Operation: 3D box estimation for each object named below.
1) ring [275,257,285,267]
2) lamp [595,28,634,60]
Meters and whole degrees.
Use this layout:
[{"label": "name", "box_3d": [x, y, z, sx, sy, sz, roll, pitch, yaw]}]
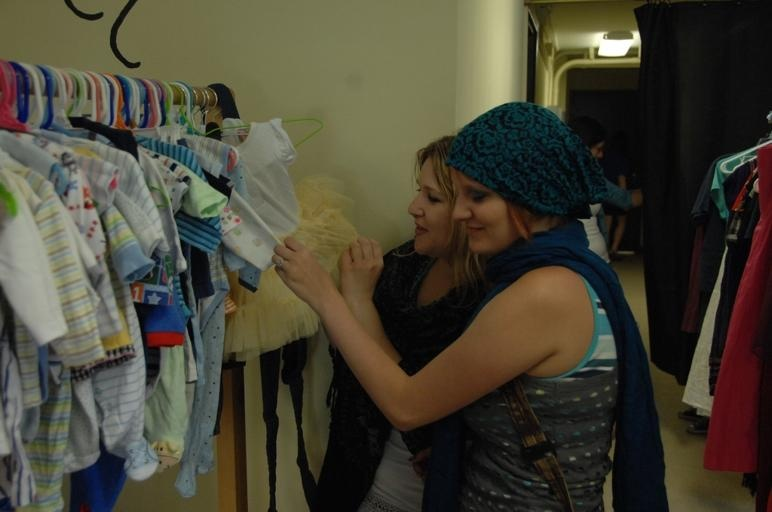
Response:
[{"label": "ring", "box_3d": [-0.251, 0.017, 1.464, 0.016, 0.007, 0.021, -35, -13, 31]}, {"label": "lamp", "box_3d": [1.129, -1.038, 3.029, 0.149, 0.153, 0.047, 3, 10, -8]}]
